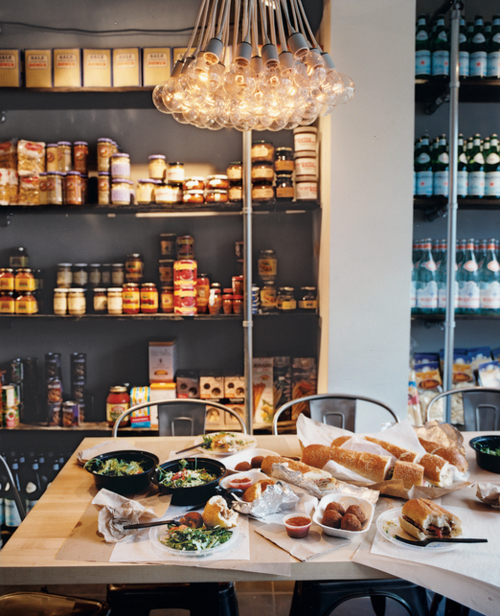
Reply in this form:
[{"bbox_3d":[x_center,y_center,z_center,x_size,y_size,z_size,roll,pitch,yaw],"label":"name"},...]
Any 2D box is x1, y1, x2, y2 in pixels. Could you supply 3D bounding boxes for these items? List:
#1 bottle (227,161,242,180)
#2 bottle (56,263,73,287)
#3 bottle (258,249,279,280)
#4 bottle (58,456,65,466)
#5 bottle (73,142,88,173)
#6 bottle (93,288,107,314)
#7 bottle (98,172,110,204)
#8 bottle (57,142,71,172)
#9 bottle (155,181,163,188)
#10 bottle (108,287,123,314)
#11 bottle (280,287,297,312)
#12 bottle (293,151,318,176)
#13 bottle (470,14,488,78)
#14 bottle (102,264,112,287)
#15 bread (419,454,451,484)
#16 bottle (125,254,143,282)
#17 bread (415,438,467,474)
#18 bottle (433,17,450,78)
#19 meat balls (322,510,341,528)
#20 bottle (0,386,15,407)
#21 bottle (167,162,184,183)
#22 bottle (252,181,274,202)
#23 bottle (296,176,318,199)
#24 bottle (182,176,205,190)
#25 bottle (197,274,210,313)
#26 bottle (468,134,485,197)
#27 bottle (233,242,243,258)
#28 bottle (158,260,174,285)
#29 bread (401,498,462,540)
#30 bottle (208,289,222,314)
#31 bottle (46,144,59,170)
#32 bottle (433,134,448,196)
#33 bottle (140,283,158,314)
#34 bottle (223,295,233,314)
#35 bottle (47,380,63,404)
[{"bbox_3d":[-0.068,-0.582,2.719,0.072,0.059,0.069,1,1,25],"label":"bottle"},{"bbox_3d":[-0.850,-0.147,2.922,0.072,0.081,0.127,-3,2,-17],"label":"bottle"},{"bbox_3d":[0.075,-0.194,2.930,0.079,0.147,0.123,-3,2,4],"label":"bottle"},{"bbox_3d":[-0.872,0.708,2.953,0.038,0.030,0.035,1,-1,0],"label":"bottle"},{"bbox_3d":[-0.742,-0.651,2.781,0.063,0.104,0.072,-3,2,-15],"label":"bottle"},{"bbox_3d":[-0.670,-0.032,2.841,0.059,0.080,0.082,-3,2,-14],"label":"bottle"},{"bbox_3d":[-0.630,-0.509,2.750,0.057,0.099,0.036,-3,2,-12],"label":"bottle"},{"bbox_3d":[-0.806,-0.650,2.767,0.057,0.101,0.069,-4,2,-15],"label":"bottle"},{"bbox_3d":[-0.395,-0.532,2.754,0.031,0.025,0.050,0,-3,-8],"label":"bottle"},{"bbox_3d":[-0.592,-0.027,2.799,0.068,0.087,0.033,-4,2,-18],"label":"bottle"},{"bbox_3d":[0.161,-0.040,2.824,0.101,0.100,0.094,0,-1,-3],"label":"bottle"},{"bbox_3d":[0.235,-0.612,2.725,0.107,0.086,0.099,0,1,-2],"label":"bottle"},{"bbox_3d":[0.979,-1.115,2.746,0.107,0.261,0.040,-4,2,-25],"label":"bottle"},{"bbox_3d":[-0.660,-0.146,2.906,0.055,0.074,0.020,-1,3,38],"label":"bottle"},{"bbox_3d":[0.453,0.395,1.579,0.066,0.042,0.064,27,31,24],"label":"bread"},{"bbox_3d":[-0.533,-0.180,2.900,0.082,0.091,0.149,-3,2,-12],"label":"bottle"},{"bbox_3d":[0.508,0.385,1.744,0.053,0.053,0.188,1,14,-32],"label":"bread"},{"bbox_3d":[0.816,-1.118,2.752,0.077,0.261,0.056,-3,2,17],"label":"bottle"},{"bbox_3d":[0.177,0.464,1.399,0.035,0.031,0.032,2,-36,4],"label":"meat balls"},{"bbox_3d":[-1.072,0.390,2.847,0.064,0.077,0.038,-4,2,-28],"label":"bottle"},{"bbox_3d":[-0.321,-0.577,2.731,0.088,0.072,0.082,-1,2,-2],"label":"bottle"},{"bbox_3d":[0.054,-0.490,2.723,0.084,0.054,0.084,0,11,0],"label":"bottle"},{"bbox_3d":[0.225,-0.517,2.769,0.102,0.094,0.095,-1,0,-8],"label":"bottle"},{"bbox_3d":[-0.242,-0.534,2.744,0.071,0.037,0.066,1,3,0],"label":"bottle"},{"bbox_3d":[-0.212,-0.060,2.840,0.066,0.170,0.032,-3,2,-4],"label":"bottle"},{"bbox_3d":[1.001,-0.621,2.841,0.077,0.277,0.126,-2,2,20],"label":"bottle"},{"bbox_3d":[-0.058,-0.270,3.004,0.040,0.092,0.101,-3,2,-2],"label":"bottle"},{"bbox_3d":[-0.374,-0.156,2.866,0.064,0.115,0.058,-3,2,-8],"label":"bottle"},{"bbox_3d":[0.395,0.444,1.382,0.096,0.056,0.080,1,1,-30],"label":"bread"},{"bbox_3d":[-0.158,-0.027,2.833,0.062,0.121,0.080,-3,2,-9],"label":"bottle"},{"bbox_3d":[-0.870,-0.658,2.797,0.036,0.094,0.073,-4,2,-32],"label":"bottle"},{"bbox_3d":[0.828,-0.625,2.795,0.071,0.274,0.175,-3,2,17],"label":"bottle"},{"bbox_3d":[-0.451,-0.041,2.831,0.080,0.088,0.062,-3,2,-13],"label":"bottle"},{"bbox_3d":[-0.102,-0.018,2.837,0.045,0.093,0.050,-4,2,-19],"label":"bottle"},{"bbox_3d":[-0.884,0.380,2.888,0.063,0.083,0.044,-4,2,-37],"label":"bottle"}]
